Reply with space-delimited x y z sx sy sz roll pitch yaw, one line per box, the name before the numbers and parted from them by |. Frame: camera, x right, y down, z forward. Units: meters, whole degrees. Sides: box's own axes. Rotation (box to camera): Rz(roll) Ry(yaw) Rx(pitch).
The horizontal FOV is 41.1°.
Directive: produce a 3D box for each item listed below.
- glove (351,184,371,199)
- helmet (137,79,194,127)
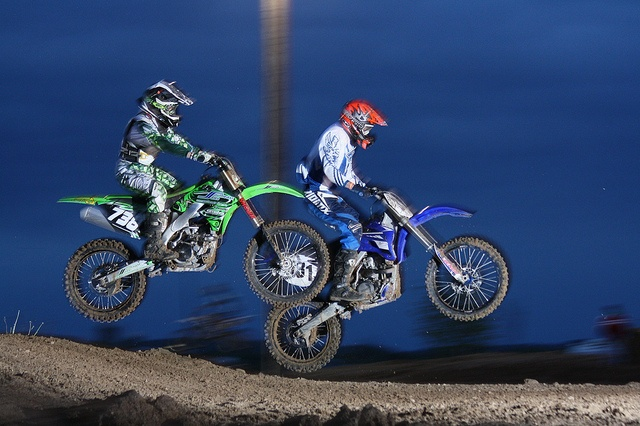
glove | 0.513 -0.271 10.405 0.183 0.157 0.180 -5 12 -25
helmet | -1.970 -1.440 10.942 0.658 0.496 0.475 29 21 -8
